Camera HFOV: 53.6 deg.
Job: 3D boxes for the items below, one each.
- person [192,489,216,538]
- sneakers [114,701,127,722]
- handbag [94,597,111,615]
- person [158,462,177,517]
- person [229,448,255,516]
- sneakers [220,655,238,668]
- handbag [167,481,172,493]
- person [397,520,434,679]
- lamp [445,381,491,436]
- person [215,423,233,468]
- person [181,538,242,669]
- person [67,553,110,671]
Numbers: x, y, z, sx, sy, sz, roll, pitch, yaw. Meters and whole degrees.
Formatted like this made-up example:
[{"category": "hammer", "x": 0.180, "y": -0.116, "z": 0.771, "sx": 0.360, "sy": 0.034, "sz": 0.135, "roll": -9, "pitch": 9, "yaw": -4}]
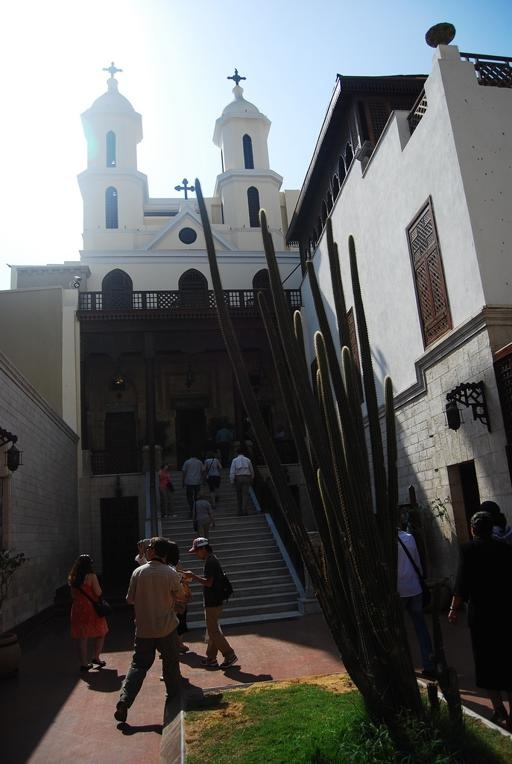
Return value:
[{"category": "person", "x": -1.083, "y": 2.805, "z": 10.563, "sx": 0.344, "sy": 0.367, "sz": 1.463, "roll": -3, "pitch": -60, "yaw": -5}, {"category": "sneakers", "x": -0.929, "y": 2.258, "z": 3.503, "sx": 0.070, "sy": 0.220, "sz": 0.066, "roll": -3, "pitch": -9, "yaw": 10}, {"category": "handbag", "x": -1.677, "y": 2.480, "z": 5.566, "sx": 0.172, "sy": 0.174, "sz": 0.154, "roll": -6, "pitch": -12, "yaw": -11}, {"category": "person", "x": -2.273, "y": 2.729, "z": 12.857, "sx": 0.375, "sy": 1.347, "sz": 0.768, "roll": -2, "pitch": -11, "yaw": -14}, {"category": "person", "x": -0.347, "y": 2.544, "z": 12.328, "sx": 0.522, "sy": 1.387, "sz": 1.288, "roll": -5, "pitch": -12, "yaw": -4}, {"category": "sneakers", "x": -0.277, "y": 2.902, "z": 5.307, "sx": 0.075, "sy": 0.140, "sz": 0.231, "roll": -23, "pitch": -26, "yaw": 29}, {"category": "handbag", "x": -2.205, "y": 2.680, "z": 12.885, "sx": 0.108, "sy": 0.146, "sz": 0.275, "roll": -20, "pitch": -3, "yaw": -4}, {"category": "person", "x": 1.313, "y": 1.853, "z": 4.223, "sx": 0.208, "sy": 1.155, "sz": 0.733, "roll": -7, "pitch": -11, "yaw": 17}, {"category": "lamp", "x": 3.043, "y": 0.406, "z": 7.490, "sx": 0.224, "sy": 0.730, "sz": 0.769, "roll": -2, "pitch": -9, "yaw": -7}, {"category": "person", "x": -0.989, "y": 2.020, "z": 15.698, "sx": 0.495, "sy": 2.104, "sz": 0.601, "roll": -1, "pitch": -29, "yaw": 2}, {"category": "person", "x": -0.619, "y": 3.097, "z": 6.994, "sx": 0.753, "sy": 2.415, "sz": 0.809, "roll": -4, "pitch": -33, "yaw": -3}, {"category": "person", "x": -2.014, "y": 2.726, "z": 6.078, "sx": 0.380, "sy": 1.254, "sz": 1.498, "roll": -1, "pitch": -14, "yaw": -20}]
